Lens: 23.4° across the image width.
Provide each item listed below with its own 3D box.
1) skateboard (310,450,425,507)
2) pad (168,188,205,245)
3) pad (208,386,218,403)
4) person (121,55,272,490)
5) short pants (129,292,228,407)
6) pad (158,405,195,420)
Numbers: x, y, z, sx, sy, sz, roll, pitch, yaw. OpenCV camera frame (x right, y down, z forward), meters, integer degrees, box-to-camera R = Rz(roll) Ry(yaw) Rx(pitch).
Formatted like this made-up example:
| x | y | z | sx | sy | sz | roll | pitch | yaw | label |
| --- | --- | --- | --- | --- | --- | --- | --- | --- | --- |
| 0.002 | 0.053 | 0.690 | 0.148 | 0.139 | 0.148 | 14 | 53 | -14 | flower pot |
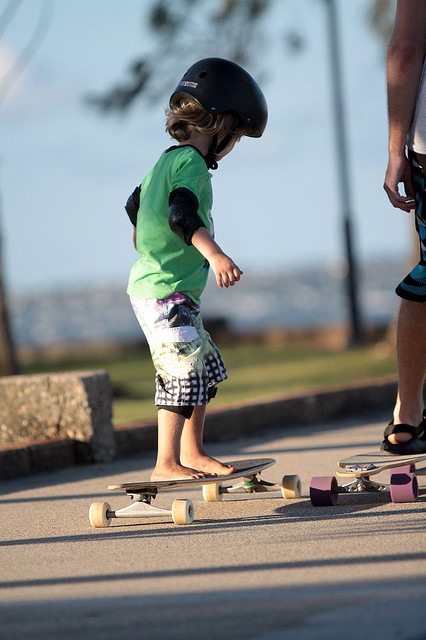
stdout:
| x | y | z | sx | sy | sz | roll | pitch | yaw | label |
| --- | --- | --- | --- | --- | --- | --- | --- | --- | --- |
| 0.525 | 0.513 | 3.456 | 0.380 | 0.170 | 0.495 | -5 | 0 | 8 | skateboard |
| -0.091 | -0.330 | 3.282 | 0.074 | 0.166 | 0.134 | -7 | -15 | -40 | pad |
| 0.010 | 0.247 | 3.525 | 0.042 | 0.041 | 0.049 | -2 | -19 | 1 | pad |
| -0.042 | -0.209 | 3.454 | 0.561 | 1.467 | 0.639 | -6 | 0 | 3 | person |
| -0.105 | 0.095 | 3.475 | 0.284 | 0.378 | 0.182 | -6 | 0 | -3 | short pants |
| -0.107 | 0.299 | 3.394 | 0.074 | 0.033 | 0.053 | 4 | -1 | 13 | pad |
